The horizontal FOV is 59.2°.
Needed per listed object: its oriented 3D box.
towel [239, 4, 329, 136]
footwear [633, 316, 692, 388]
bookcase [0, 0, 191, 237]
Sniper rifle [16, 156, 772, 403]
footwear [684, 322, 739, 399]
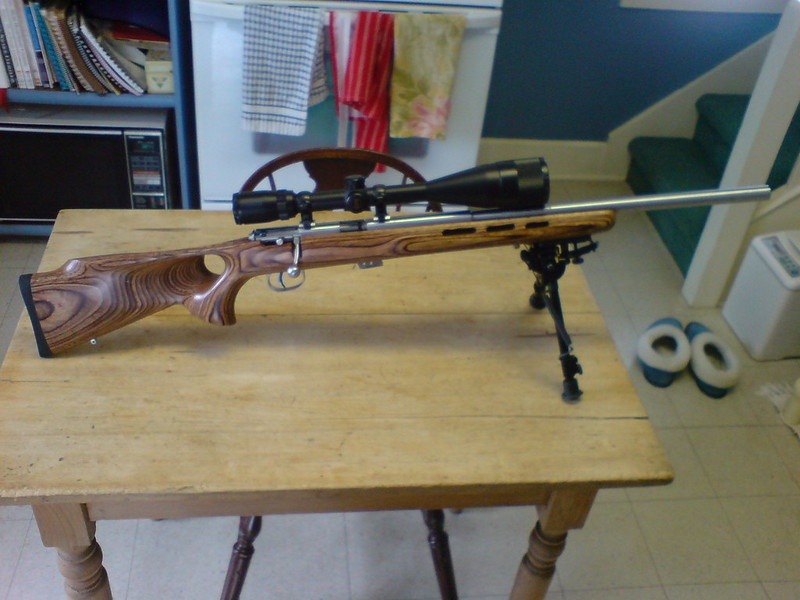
[{"bbox_3d":[-0.463,-0.858,2.649,0.329,0.424,0.112,4,29,-4],"label":"towel"},{"bbox_3d":[1.128,0.192,3.018,0.248,0.147,0.392,14,40,19],"label":"footwear"},{"bbox_3d":[-1.100,-0.734,2.929,1.216,0.900,0.251,-1,14,4],"label":"bookcase"},{"bbox_3d":[-0.037,-0.086,1.727,1.703,0.481,0.414,-5,11,-2],"label":"Sniper rifle"},{"bbox_3d":[1.299,0.229,2.972,0.210,0.135,0.346,6,47,0],"label":"footwear"}]
